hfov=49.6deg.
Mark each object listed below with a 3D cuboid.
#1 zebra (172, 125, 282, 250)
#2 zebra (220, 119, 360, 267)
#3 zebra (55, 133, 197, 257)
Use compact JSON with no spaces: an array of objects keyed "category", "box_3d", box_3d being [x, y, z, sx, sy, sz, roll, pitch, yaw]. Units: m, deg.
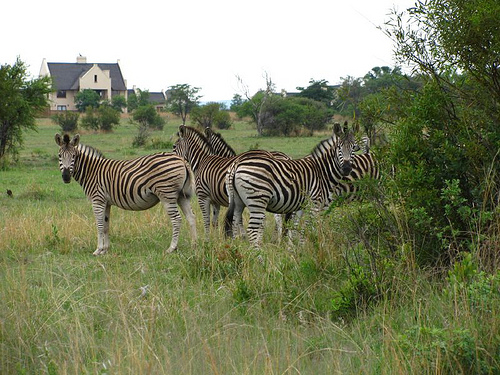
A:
[{"category":"zebra","box_3d":[-0.529,-0.057,9.826,2.557,2.128,0.799,3,-7,32]},{"category":"zebra","box_3d":[0.625,-0.001,8.117,1.887,2.082,1.340,2,-1,-21]},{"category":"zebra","box_3d":[-2.144,0.141,9.166,2.354,2.227,0.798,0,6,0]}]
